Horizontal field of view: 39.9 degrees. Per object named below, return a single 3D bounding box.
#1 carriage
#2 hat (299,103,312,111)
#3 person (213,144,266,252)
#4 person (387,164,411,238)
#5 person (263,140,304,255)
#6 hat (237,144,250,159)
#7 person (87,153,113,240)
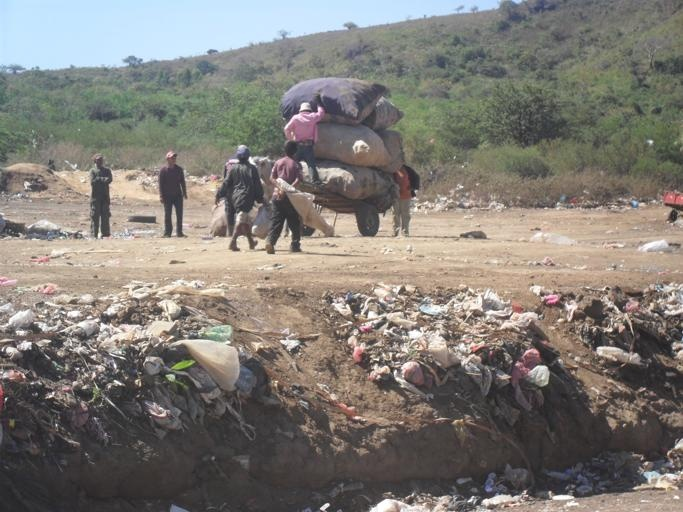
[{"bbox_3d":[0.072,-1.116,19.822,1.133,1.384,3.910,-4,-9,37],"label":"carriage"},{"bbox_3d":[-0.741,-2.990,18.838,0.221,0.160,0.294,0,-2,-1],"label":"hat"},{"bbox_3d":[-1.966,-1.104,18.016,0.894,1.986,0.861,-3,5,-11],"label":"person"},{"bbox_3d":[1.307,-1.197,20.496,0.407,1.512,0.612,-2,5,4],"label":"person"},{"bbox_3d":[-1.088,-1.103,17.709,0.705,2.113,0.848,-1,5,10],"label":"person"},{"bbox_3d":[-1.914,-1.973,17.890,0.206,0.271,0.298,2,-4,3],"label":"hat"},{"bbox_3d":[-5.116,-1.262,19.875,0.463,1.742,0.907,-3,5,-15],"label":"person"}]
